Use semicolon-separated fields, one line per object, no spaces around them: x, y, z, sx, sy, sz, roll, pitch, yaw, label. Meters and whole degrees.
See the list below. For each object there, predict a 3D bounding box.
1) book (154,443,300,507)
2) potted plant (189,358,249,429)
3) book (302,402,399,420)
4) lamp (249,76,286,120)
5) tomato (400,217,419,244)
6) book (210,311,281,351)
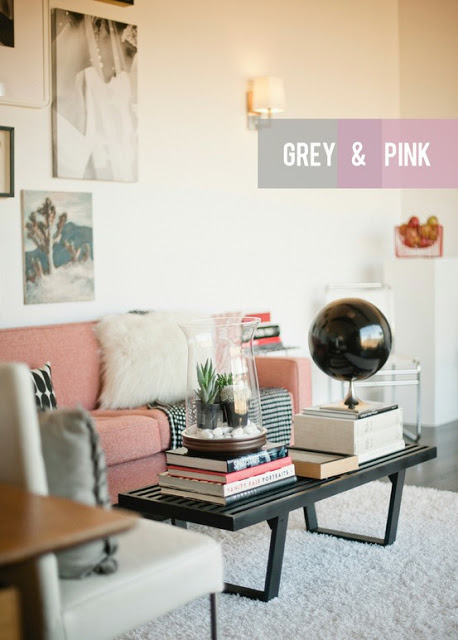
0.032;0.415;1.566;0.261;0.075;0.186;-2;3;-44;book
-0.027;0.231;1.638;0.206;0.206;0.149;0;-3;-1;potted plant
0.489;0.328;1.952;0.416;0.041;0.187;-1;-2;-21;book
0.258;-1.667;4.032;0.285;0.448;0.281;-1;1;-4;lamp
1.532;-0.749;4.496;0.175;0.224;0.091;-18;-10;37;tomato
0.088;0.049;2.503;0.267;0.249;0.061;2;-15;-38;book
